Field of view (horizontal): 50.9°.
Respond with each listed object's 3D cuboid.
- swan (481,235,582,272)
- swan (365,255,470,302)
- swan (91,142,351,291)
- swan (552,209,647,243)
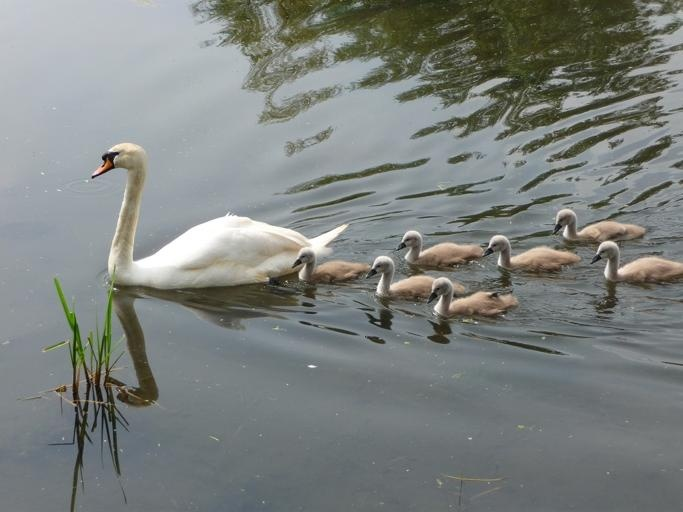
[{"bbox_3d":[3.469,-0.011,13.183,2.077,0.639,0.708,-3,10,-20],"label":"swan"},{"bbox_3d":[1.246,0.436,12.860,1.976,0.722,0.641,-2,14,-42],"label":"swan"},{"bbox_3d":[-2.272,-0.582,13.189,4.624,2.101,1.470,-2,20,-28],"label":"swan"},{"bbox_3d":[4.818,-0.559,13.819,2.022,0.615,0.636,-1,10,9],"label":"swan"}]
